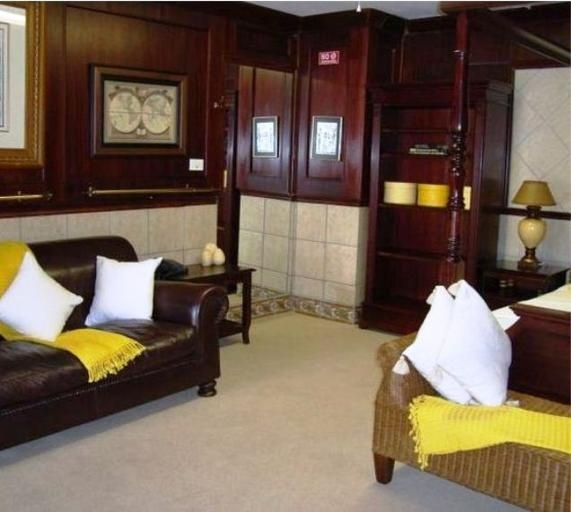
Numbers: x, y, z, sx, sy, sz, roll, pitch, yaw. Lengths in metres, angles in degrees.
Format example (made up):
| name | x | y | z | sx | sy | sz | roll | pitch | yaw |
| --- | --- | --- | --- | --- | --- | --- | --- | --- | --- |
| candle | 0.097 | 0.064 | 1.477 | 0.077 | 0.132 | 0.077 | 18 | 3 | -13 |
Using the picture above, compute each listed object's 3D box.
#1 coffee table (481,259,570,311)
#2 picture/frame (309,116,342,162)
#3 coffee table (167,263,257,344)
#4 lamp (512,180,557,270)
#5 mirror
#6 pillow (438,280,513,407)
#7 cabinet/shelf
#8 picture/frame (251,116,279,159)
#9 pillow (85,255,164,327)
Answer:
| name | x | y | z | sx | sy | sz | roll | pitch | yaw |
| --- | --- | --- | --- | --- | --- | --- | --- | --- | --- |
| coffee table | 2.090 | 0.203 | 4.326 | 0.552 | 0.561 | 0.436 | 8 | 15 | 41 |
| picture/frame | 0.427 | -1.215 | 5.031 | 0.405 | 0.540 | 0.037 | 7 | 10 | 32 |
| coffee table | -0.657 | 0.444 | 4.163 | 0.510 | 0.678 | 0.695 | 0 | 2 | 25 |
| lamp | 2.183 | -0.281 | 4.286 | 0.309 | 0.777 | 0.412 | 9 | 10 | 41 |
| mirror | -0.306 | -1.130 | 5.265 | 0.672 | 2.441 | 0.568 | -5 | 10 | -41 |
| pillow | 0.826 | 0.367 | 2.078 | 0.478 | 0.459 | 0.143 | 41 | -30 | -25 |
| cabinet/shelf | 1.338 | -0.406 | 4.699 | 1.179 | 2.406 | 0.564 | 7 | 10 | 35 |
| picture/frame | -0.219 | -1.296 | 5.228 | 0.391 | 0.656 | 0.086 | -1 | 6 | -6 |
| pillow | -1.089 | 0.251 | 3.256 | 0.391 | 0.429 | 0.146 | 2 | -17 | -7 |
